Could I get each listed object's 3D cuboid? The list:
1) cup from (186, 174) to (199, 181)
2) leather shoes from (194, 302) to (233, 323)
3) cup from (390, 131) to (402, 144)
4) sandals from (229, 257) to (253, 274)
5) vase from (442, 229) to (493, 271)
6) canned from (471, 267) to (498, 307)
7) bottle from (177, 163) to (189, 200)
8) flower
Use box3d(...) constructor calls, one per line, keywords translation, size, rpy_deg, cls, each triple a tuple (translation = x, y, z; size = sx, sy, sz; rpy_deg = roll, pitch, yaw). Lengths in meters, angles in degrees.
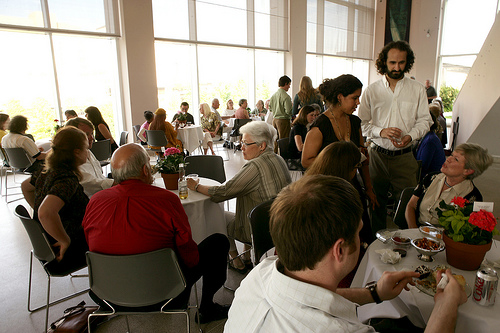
box3d(translation=(-0.554, 0.101, 3.287), size=(0.098, 0.044, 0.068), rpy_deg=(-3, 8, -14), cls="cup")
box3d(translation=(-0.307, 1.244, 2.827), size=(0.299, 0.182, 0.114), rpy_deg=(-10, 18, -27), cls="leather shoes")
box3d(translation=(1.412, -0.280, 3.243), size=(0.079, 0.104, 0.097), rpy_deg=(-7, 7, -22), cls="cup")
box3d(translation=(-0.093, 1.039, 3.442), size=(0.269, 0.108, 0.153), rpy_deg=(11, 17, 43), cls="sandals")
box3d(translation=(1.408, 0.536, 2.206), size=(0.318, 0.239, 0.332), rpy_deg=(7, -4, 28), cls="vase")
box3d(translation=(1.377, 0.693, 1.935), size=(0.105, 0.188, 0.189), rpy_deg=(13, 22, 42), cls="canned")
box3d(translation=(-0.627, 0.118, 3.099), size=(0.094, 0.306, 0.247), rpy_deg=(-5, 16, -11), cls="bottle")
box3d(translation=(1.365, 0.343, 2.099), size=(0.303, 0.263, 0.133), rpy_deg=(5, 17, 22), cls="flower")
